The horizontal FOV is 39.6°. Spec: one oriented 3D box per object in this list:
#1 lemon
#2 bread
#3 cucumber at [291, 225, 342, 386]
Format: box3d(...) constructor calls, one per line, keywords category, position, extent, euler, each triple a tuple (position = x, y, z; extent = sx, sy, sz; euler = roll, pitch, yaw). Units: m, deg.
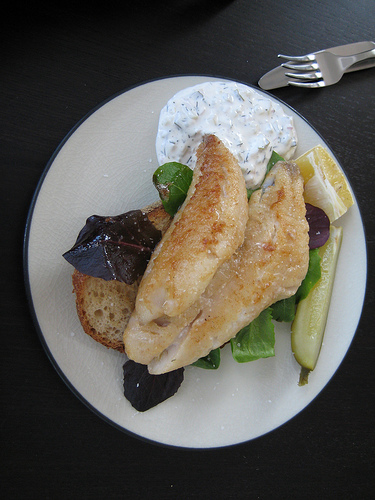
box3d(category="lemon", position=(0.608, -0.323, 2.476), extent=(0.333, 0.309, 0.278), euler=(-13, 35, -20))
box3d(category="bread", position=(-0.332, 0.153, 2.277), extent=(0.388, 0.606, 0.317), euler=(20, 44, 24))
box3d(category="cucumber", position=(0.603, 0.261, 2.487), extent=(0.211, 0.090, 0.734), euler=(12, 91, 10))
